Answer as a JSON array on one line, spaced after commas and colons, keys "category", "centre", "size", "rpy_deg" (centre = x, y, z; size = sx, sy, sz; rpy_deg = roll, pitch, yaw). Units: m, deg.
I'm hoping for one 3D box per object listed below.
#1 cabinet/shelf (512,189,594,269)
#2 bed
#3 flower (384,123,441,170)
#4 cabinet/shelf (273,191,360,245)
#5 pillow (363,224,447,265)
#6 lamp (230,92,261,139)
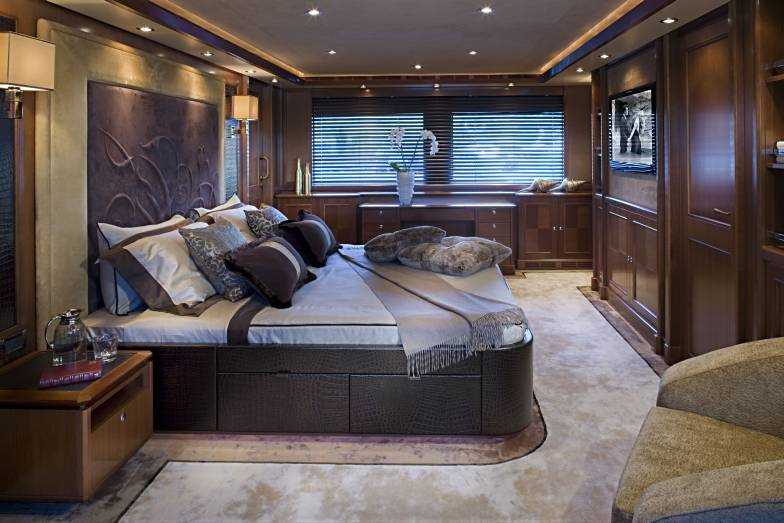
[{"category": "cabinet/shelf", "centre": [2.191, -0.439, 7.710], "size": [0.984, 0.977, 0.396], "rpy_deg": [0, 5, -1]}, {"category": "bed", "centre": [-0.366, 0.247, 4.467], "size": [2.639, 1.147, 2.208], "rpy_deg": [0, 15, 3]}, {"category": "flower", "centre": [0.359, -1.561, 7.864], "size": [0.716, 0.635, 0.740], "rpy_deg": [0, 15, 1]}, {"category": "cabinet/shelf", "centre": [-0.806, -0.516, 6.574], "size": [0.726, 0.708, 0.283], "rpy_deg": [-1, 5, -2]}, {"category": "pillow", "centre": [0.102, -0.168, 4.849], "size": [0.457, 0.138, 0.381], "rpy_deg": [-11, 9, 0]}, {"category": "lamp", "centre": [-1.517, -1.600, 6.182], "size": [0.255, 0.432, 0.576], "rpy_deg": [-2, 15, -7]}]
